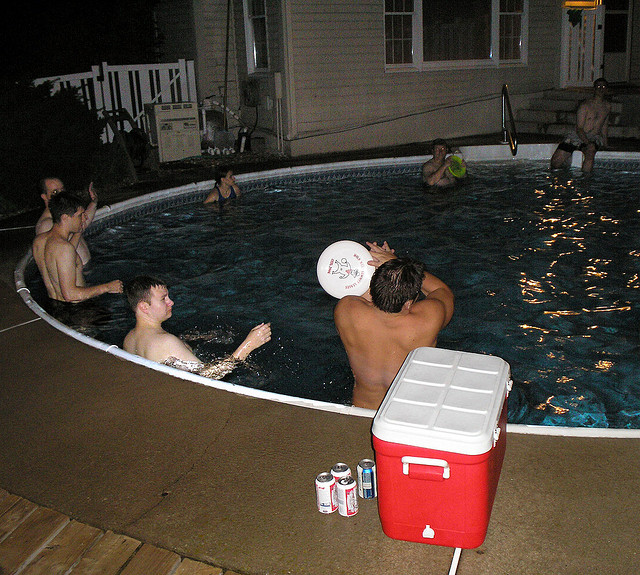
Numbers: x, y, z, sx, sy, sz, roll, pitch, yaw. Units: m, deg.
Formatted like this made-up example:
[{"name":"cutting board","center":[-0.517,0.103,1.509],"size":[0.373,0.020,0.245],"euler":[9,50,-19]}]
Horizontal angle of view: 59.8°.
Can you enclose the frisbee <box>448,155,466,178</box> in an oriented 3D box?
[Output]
[{"name":"frisbee","center":[2.618,-2.332,10.642],"size":[0.350,0.364,0.114],"euler":[-51,19,-15]}]

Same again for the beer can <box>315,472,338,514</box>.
[{"name":"beer can","center":[0.030,0.888,2.384],"size":[0.090,0.184,0.058],"euler":[-4,19,-2]}]

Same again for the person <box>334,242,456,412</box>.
[{"name":"person","center":[0.514,0.570,3.770],"size":[0.753,1.730,0.639],"euler":[3,32,9]}]

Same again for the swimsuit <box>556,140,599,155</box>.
[{"name":"swimsuit","center":[5.135,-2.831,11.070],"size":[0.416,0.269,0.763],"euler":[-14,21,-29]}]

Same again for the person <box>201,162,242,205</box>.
[{"name":"person","center":[-1.738,-1.895,10.101],"size":[0.438,0.713,1.087],"euler":[16,27,33]}]

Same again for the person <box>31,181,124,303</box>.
[{"name":"person","center":[-2.538,-0.424,5.732],"size":[0.742,1.179,1.088],"euler":[-17,23,-33]}]

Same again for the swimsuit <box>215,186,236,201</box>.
[{"name":"swimsuit","center":[-1.680,-1.700,10.043],"size":[0.280,0.252,0.128],"euler":[-4,-15,-5]}]

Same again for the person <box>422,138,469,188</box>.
[{"name":"person","center":[2.288,-2.344,10.381],"size":[0.738,0.877,0.656],"euler":[-1,19,9]}]

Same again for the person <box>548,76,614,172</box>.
[{"name":"person","center":[5.147,-3.181,10.894],"size":[0.880,1.702,0.699],"euler":[5,21,25]}]

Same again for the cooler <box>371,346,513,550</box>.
[{"name":"cooler","center":[0.512,0.553,2.235],"size":[0.506,0.748,0.526],"euler":[6,21,24]}]

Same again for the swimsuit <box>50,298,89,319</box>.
[{"name":"swimsuit","center":[-2.551,0.202,5.560],"size":[0.218,0.231,0.232],"euler":[5,11,27]}]
